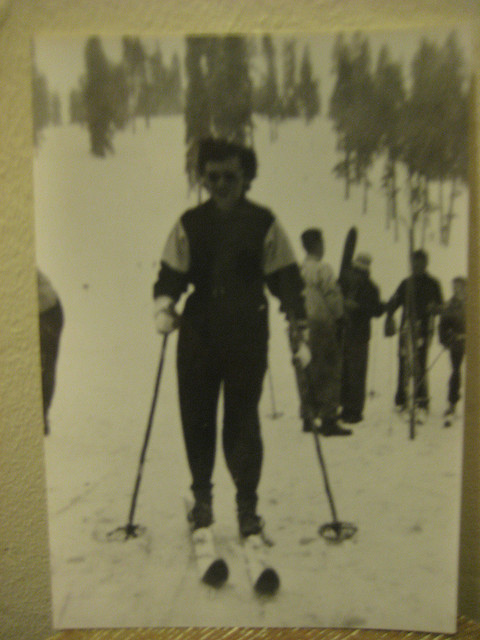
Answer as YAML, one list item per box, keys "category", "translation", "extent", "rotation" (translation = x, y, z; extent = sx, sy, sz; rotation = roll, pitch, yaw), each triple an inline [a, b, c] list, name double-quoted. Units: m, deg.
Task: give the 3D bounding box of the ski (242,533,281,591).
- category: "ski"
  translation: [0.056, 0.586, 3.088]
  extent: [0.097, 0.131, 0.019]
  rotation: [3, 7, -1]

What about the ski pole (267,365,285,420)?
- category: "ski pole"
  translation: [0.087, 0.179, 3.083]
  extent: [0.049, 0.124, 0.015]
  rotation: [5, 7, 20]

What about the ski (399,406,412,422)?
- category: "ski"
  translation: [0.408, 0.229, 3.094]
  extent: [0.031, 0.030, 0.008]
  rotation: [-34, -3, 11]

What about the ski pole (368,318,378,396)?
- category: "ski pole"
  translation: [0.332, 0.091, 3.093]
  extent: [0.016, 0.183, 0.023]
  rotation: [4, 7, 6]
